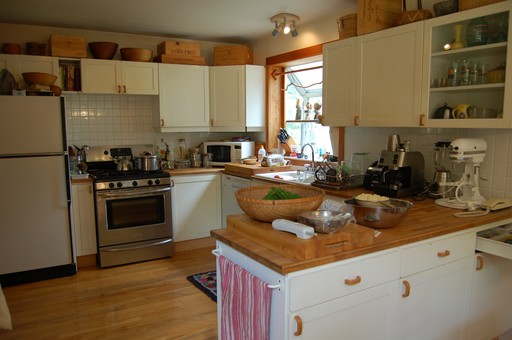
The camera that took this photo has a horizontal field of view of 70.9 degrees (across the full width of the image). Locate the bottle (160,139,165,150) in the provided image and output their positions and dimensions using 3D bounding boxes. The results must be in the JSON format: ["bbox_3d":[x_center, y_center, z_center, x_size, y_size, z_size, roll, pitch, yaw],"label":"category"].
[{"bbox_3d":[-1.450,-0.407,5.622,0.091,0.177,0.083,-4,10,1],"label":"bottle"}]

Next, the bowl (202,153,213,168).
[{"bbox_3d":[-0.738,-0.146,5.501,0.204,0.241,0.196,1,6,0],"label":"bowl"}]

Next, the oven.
[{"bbox_3d":[-1.668,0.654,5.210,1.243,1.505,1.092,-2,1,-30],"label":"oven"}]

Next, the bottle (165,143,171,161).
[{"bbox_3d":[-1.360,-0.283,5.551,0.085,0.252,0.306,-6,10,-12],"label":"bottle"}]

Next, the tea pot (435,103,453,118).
[{"bbox_3d":[1.727,-0.551,3.335,0.145,0.145,0.141,1,9,0],"label":"tea pot"}]

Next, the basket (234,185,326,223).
[{"bbox_3d":[0.134,0.249,2.671,0.412,0.128,0.414,2,5,36],"label":"basket"}]

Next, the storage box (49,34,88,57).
[{"bbox_3d":[-2.469,-1.646,4.876,0.466,0.270,0.284,1,7,-12],"label":"storage box"}]

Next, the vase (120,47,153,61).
[{"bbox_3d":[-1.716,-1.647,5.128,0.364,0.126,0.359,0,0,-16],"label":"vase"}]

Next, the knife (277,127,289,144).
[{"bbox_3d":[0.413,-0.517,5.355,0.149,0.221,0.057,0,10,35],"label":"knife"}]

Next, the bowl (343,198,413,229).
[{"bbox_3d":[0.935,0.273,2.724,0.314,0.103,0.299,-1,7,0],"label":"bowl"}]

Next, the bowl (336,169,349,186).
[{"bbox_3d":[0.943,0.075,3.931,0.139,0.159,0.089,-9,11,-27],"label":"bowl"}]

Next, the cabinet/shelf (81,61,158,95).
[{"bbox_3d":[-1.910,-1.328,5.116,0.986,0.452,0.313,-3,29,-22],"label":"cabinet/shelf"}]

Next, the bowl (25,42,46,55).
[{"bbox_3d":[-2.865,-1.571,4.699,0.204,0.131,0.202,1,-2,0],"label":"bowl"}]

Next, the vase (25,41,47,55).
[{"bbox_3d":[-2.865,-1.576,4.705,0.210,0.135,0.210,1,-1,-28],"label":"vase"}]

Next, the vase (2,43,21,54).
[{"bbox_3d":[-3.114,-1.535,4.603,0.182,0.119,0.176,0,-1,4],"label":"vase"}]

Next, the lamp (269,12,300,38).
[{"bbox_3d":[0.412,-1.910,4.778,0.408,0.271,0.357,-4,9,-7],"label":"lamp"}]

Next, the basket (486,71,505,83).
[{"bbox_3d":[2.030,-0.789,3.055,0.113,0.052,0.105,1,2,36],"label":"basket"}]

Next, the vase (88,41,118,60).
[{"bbox_3d":[-2.083,-1.663,4.980,0.316,0.150,0.311,2,5,25],"label":"vase"}]

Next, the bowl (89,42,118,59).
[{"bbox_3d":[-2.102,-1.644,4.974,0.307,0.152,0.296,0,6,0],"label":"bowl"}]

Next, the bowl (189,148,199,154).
[{"bbox_3d":[-0.986,-0.308,5.786,0.120,0.094,0.091,-3,3,-6],"label":"bowl"}]

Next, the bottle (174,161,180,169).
[{"bbox_3d":[-1.206,-0.076,5.507,0.108,0.106,0.138,1,6,1],"label":"bottle"}]

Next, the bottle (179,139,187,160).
[{"bbox_3d":[-1.152,-0.339,5.710,0.104,0.301,0.198,-5,10,-9],"label":"bottle"}]

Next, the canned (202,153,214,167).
[{"bbox_3d":[-0.738,-0.146,5.502,0.196,0.233,0.191,-3,7,-40],"label":"canned"}]

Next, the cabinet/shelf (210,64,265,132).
[{"bbox_3d":[-0.278,-1.094,5.492,0.892,0.977,0.242,-3,10,2],"label":"cabinet/shelf"}]

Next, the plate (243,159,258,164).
[{"bbox_3d":[-0.090,-0.129,5.211,0.209,0.072,0.162,-3,9,4],"label":"plate"}]

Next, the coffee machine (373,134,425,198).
[{"bbox_3d":[1.424,-0.039,3.668,0.490,0.573,0.514,3,7,31],"label":"coffee machine"}]

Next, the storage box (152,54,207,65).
[{"bbox_3d":[-1.070,-1.626,5.325,0.630,0.159,0.086,-7,10,-25],"label":"storage box"}]

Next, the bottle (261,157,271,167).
[{"bbox_3d":[0.139,-0.121,5.002,0.138,0.125,0.126,4,11,20],"label":"bottle"}]

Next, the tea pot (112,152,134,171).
[{"bbox_3d":[-1.886,-0.134,5.143,0.251,0.342,0.359,0,-2,-29],"label":"tea pot"}]

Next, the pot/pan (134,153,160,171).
[{"bbox_3d":[-1.514,-0.106,5.094,0.380,0.231,0.270,1,4,13],"label":"pot/pan"}]

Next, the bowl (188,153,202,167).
[{"bbox_3d":[-0.944,-0.148,5.552,0.210,0.203,0.122,0,10,19],"label":"bowl"}]

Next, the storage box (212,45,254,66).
[{"bbox_3d":[-0.344,-1.736,5.523,0.602,0.311,0.358,-4,9,-3],"label":"storage box"}]

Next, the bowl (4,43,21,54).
[{"bbox_3d":[-3.107,-1.538,4.630,0.168,0.109,0.166,1,-1,0],"label":"bowl"}]

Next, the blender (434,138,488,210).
[{"bbox_3d":[1.875,0.015,3.293,0.395,0.613,0.446,2,11,31],"label":"blender"}]

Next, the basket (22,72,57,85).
[{"bbox_3d":[-2.686,-1.148,4.519,0.382,0.188,0.271,-8,10,-29],"label":"basket"}]

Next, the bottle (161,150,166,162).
[{"bbox_3d":[-1.412,-0.229,5.485,0.083,0.146,0.128,-7,10,-17],"label":"bottle"}]

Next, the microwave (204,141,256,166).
[{"bbox_3d":[-0.448,-0.246,5.705,0.649,0.356,0.435,1,2,9],"label":"microwave"}]

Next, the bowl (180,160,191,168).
[{"bbox_3d":[-1.084,-0.100,5.506,0.132,0.087,0.125,1,4,0],"label":"bowl"}]

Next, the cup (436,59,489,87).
[{"bbox_3d":[1.854,-0.857,3.230,0.381,0.171,0.205,0,6,26],"label":"cup"}]
